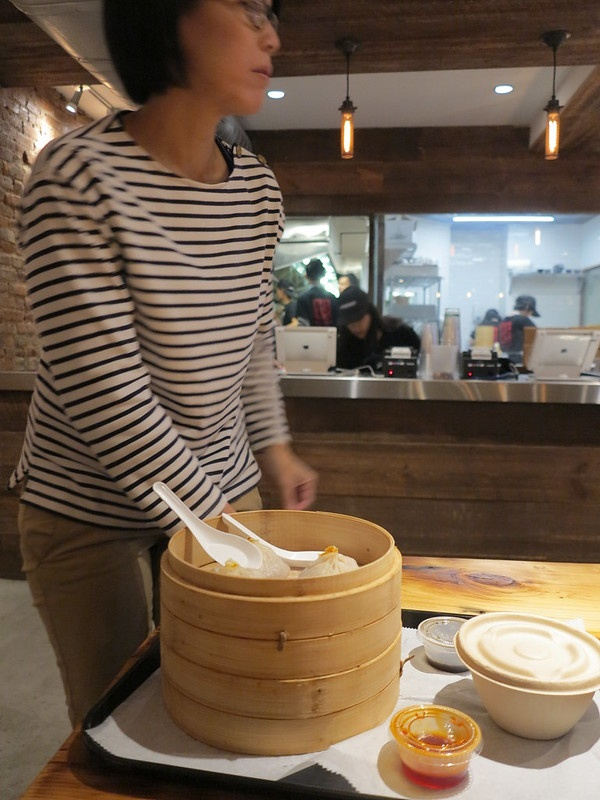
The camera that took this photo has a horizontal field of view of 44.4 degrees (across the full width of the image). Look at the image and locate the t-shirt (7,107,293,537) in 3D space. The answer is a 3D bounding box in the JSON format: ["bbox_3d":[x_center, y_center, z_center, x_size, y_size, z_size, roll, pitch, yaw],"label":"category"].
[{"bbox_3d":[-0.157,-0.124,1.129,0.273,0.610,0.465,2,5,28],"label":"t-shirt"}]

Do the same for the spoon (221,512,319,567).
[{"bbox_3d":[-0.037,0.171,0.897,0.099,0.017,0.020,31,16,10],"label":"spoon"}]

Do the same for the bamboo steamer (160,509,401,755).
[{"bbox_3d":[-0.024,0.237,0.808,0.279,0.165,0.257,3,11,10],"label":"bamboo steamer"}]

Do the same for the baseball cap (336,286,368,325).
[{"bbox_3d":[0.372,-0.592,4.854,0.198,0.252,0.156,-18,-44,32],"label":"baseball cap"}]

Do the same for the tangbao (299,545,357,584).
[{"bbox_3d":[0.032,0.179,0.793,0.047,0.020,0.042,-8,-3,-8],"label":"tangbao"}]

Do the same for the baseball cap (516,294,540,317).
[{"bbox_3d":[2.380,-0.982,7.653,0.219,0.164,0.358,8,5,41],"label":"baseball cap"}]

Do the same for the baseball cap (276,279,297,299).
[{"bbox_3d":[-0.145,-1.016,6.612,0.171,0.179,0.175,1,-34,-11],"label":"baseball cap"}]
